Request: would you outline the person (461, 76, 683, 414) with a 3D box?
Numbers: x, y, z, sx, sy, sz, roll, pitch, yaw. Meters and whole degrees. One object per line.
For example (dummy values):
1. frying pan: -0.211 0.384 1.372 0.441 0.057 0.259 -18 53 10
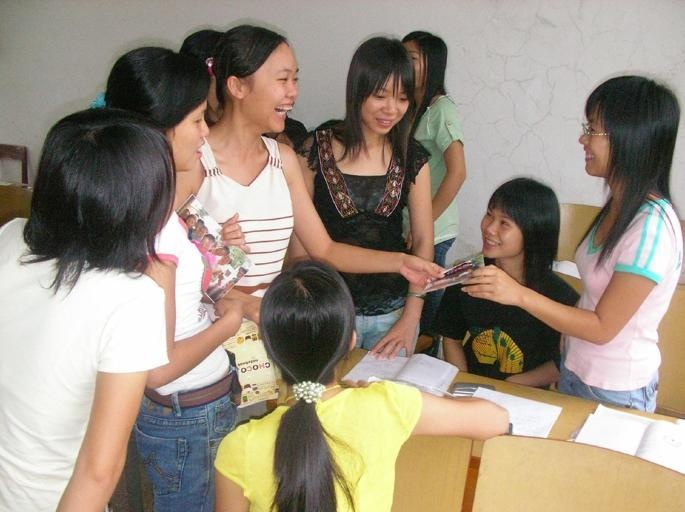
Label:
1. person: 0.783 -0.015 1.711 0.515 1.071 0.298 9 15 28
